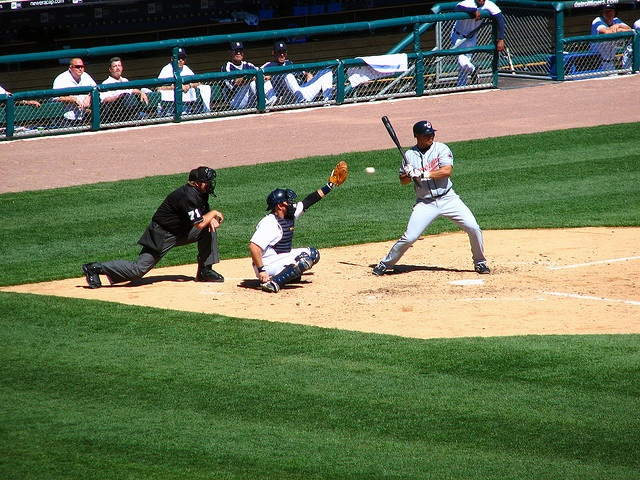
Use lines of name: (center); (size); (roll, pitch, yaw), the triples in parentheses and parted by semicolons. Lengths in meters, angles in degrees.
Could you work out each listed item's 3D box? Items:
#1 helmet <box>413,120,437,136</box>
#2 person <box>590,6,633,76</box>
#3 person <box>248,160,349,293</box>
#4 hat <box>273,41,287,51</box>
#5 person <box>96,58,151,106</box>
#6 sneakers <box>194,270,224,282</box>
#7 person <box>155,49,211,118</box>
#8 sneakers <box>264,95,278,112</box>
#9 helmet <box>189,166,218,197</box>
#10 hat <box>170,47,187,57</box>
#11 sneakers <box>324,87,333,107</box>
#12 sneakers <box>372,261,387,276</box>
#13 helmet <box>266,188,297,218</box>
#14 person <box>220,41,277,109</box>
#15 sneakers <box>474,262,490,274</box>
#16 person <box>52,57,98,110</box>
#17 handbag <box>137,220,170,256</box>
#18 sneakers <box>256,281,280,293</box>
helmet: (1.483, -1.574, 19.820); (0.283, 0.127, 0.196); (8, 22, 29)
person: (6.237, -4.355, 30.215); (0.836, 1.422, 0.864); (-7, 7, -26)
person: (-0.349, -0.153, 19.842); (1.214, 1.663, 1.660); (13, 20, 36)
hat: (-0.812, -3.882, 28.317); (0.296, 0.181, 0.360); (-2, 6, -15)
person: (-3.872, -3.052, 27.300); (1.068, 0.949, 0.837); (-7, 3, -32)
sneakers: (-1.619, 0.513, 20.150); (0.364, 0.122, 0.165); (-1, 13, -1)
person: (-2.695, -2.950, 28.047); (0.936, 1.700, 0.576); (-17, 24, -12)
sneakers: (-1.021, -2.782, 28.759); (0.266, 0.281, 0.112); (5, -15, -5)
helmet: (-1.637, -0.815, 19.633); (0.382, 0.399, 0.272); (-6, 7, -24)
hat: (-2.792, -3.692, 27.707); (0.226, 0.151, 0.295); (2, 7, -22)
sneakers: (0.153, -2.990, 29.210); (0.197, 0.304, 0.280); (10, 27, -2)
sneakers: (0.833, 0.396, 20.175); (0.111, 0.130, 0.297); (27, 12, -24)
helmet: (-0.548, -0.549, 19.656); (0.479, 0.364, 0.357); (-16, 16, -2)
person: (-1.460, -3.300, 28.255); (1.023, 1.331, 0.845); (-4, 6, -5)
sneakers: (2.323, 0.401, 19.949); (0.120, 0.094, 0.233); (-6, 10, -15)
person: (-4.753, -2.983, 26.819); (0.849, 0.976, 0.486); (-6, 7, -24)
handbag: (-2.393, -0.013, 20.038); (0.482, 0.398, 0.248); (29, 2, -10)
sneakers: (-0.720, 0.649, 19.678); (0.252, 0.175, 0.273); (-4, 6, -7)
